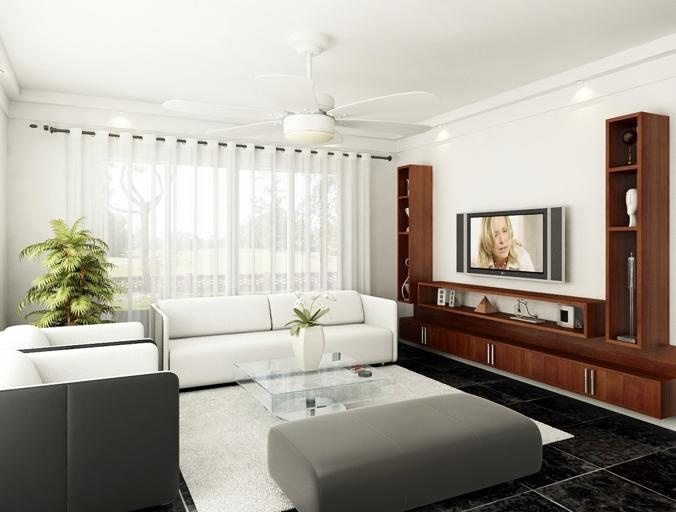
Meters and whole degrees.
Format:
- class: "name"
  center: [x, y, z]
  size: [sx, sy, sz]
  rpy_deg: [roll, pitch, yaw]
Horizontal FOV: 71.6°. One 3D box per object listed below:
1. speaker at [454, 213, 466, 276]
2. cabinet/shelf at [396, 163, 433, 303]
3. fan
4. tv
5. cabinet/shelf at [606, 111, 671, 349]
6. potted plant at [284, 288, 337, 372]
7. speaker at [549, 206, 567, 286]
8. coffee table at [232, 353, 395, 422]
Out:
- class: "speaker"
  center: [1.612, -0.179, 6.161]
  size: [0.086, 0.777, 0.183]
  rpy_deg: [-4, 5, -17]
- class: "cabinet/shelf"
  center: [1.033, -0.332, 6.811]
  size: [0.547, 1.955, 0.494]
  rpy_deg: [-6, 6, -35]
- class: "fan"
  center: [-0.151, -1.241, 3.917]
  size: [1.549, 0.540, 1.438]
  rpy_deg: [-4, -11, 18]
- class: "tv"
  center: [2.002, -0.146, 5.487]
  size: [0.037, 0.626, 0.943]
  rpy_deg: [0, -2, -27]
- class: "cabinet/shelf"
  center: [2.720, -0.233, 4.248]
  size: [0.546, 2.073, 0.390]
  rpy_deg: [-6, 5, -28]
- class: "potted plant"
  center: [-0.261, 0.671, 4.297]
  size: [0.398, 0.612, 0.373]
  rpy_deg: [-2, -7, -36]
- class: "speaker"
  center: [2.315, -0.129, 4.991]
  size: [0.145, 0.782, 0.124]
  rpy_deg: [0, 6, 30]
- class: "coffee table"
  center: [-0.242, 1.190, 4.108]
  size: [1.040, 0.263, 1.008]
  rpy_deg: [-15, -22, 7]
